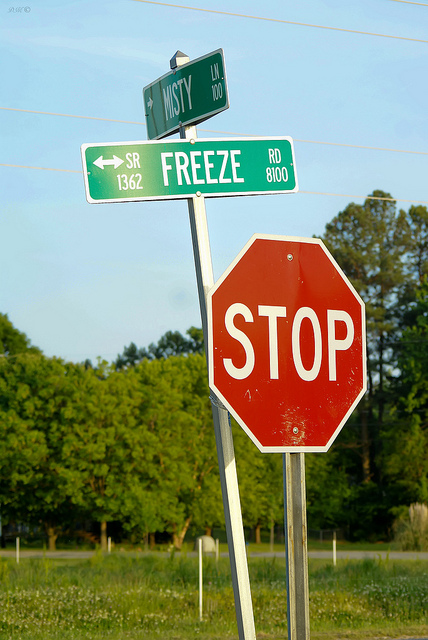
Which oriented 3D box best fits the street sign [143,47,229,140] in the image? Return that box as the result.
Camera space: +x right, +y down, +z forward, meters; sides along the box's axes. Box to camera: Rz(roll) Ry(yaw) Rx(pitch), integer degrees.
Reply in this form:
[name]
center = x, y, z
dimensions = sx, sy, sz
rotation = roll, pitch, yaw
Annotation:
[street sign]
center = -0.226, -1.828, 13.464
dimensions = 0.763, 0.758, 0.215
rotation = 11, 11, 30
